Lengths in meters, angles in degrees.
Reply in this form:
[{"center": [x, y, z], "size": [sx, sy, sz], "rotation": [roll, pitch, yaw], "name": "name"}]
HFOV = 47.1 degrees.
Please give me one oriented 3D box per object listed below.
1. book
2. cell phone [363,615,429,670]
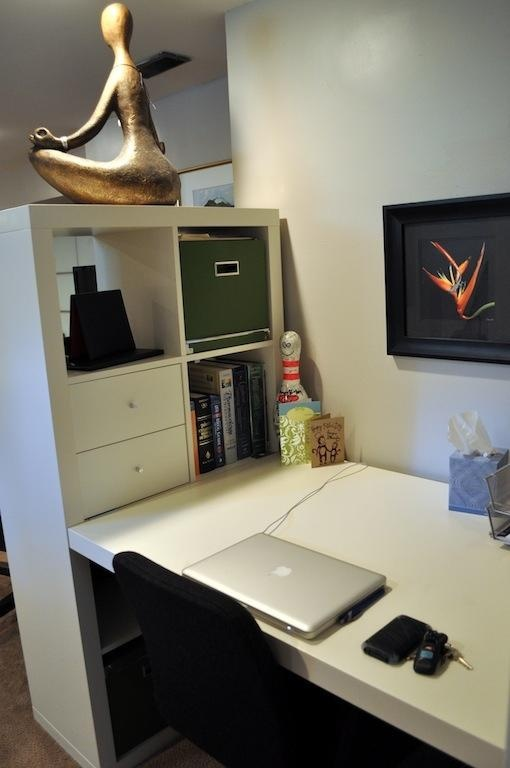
[{"center": [-0.055, 0.090, 1.915], "size": [0.277, 0.416, 0.289], "rotation": [-11, 9, -39], "name": "book"}, {"center": [0.215, 0.380, 0.871], "size": [0.107, 0.022, 0.059], "rotation": [-11, 13, -40], "name": "cell phone"}]
